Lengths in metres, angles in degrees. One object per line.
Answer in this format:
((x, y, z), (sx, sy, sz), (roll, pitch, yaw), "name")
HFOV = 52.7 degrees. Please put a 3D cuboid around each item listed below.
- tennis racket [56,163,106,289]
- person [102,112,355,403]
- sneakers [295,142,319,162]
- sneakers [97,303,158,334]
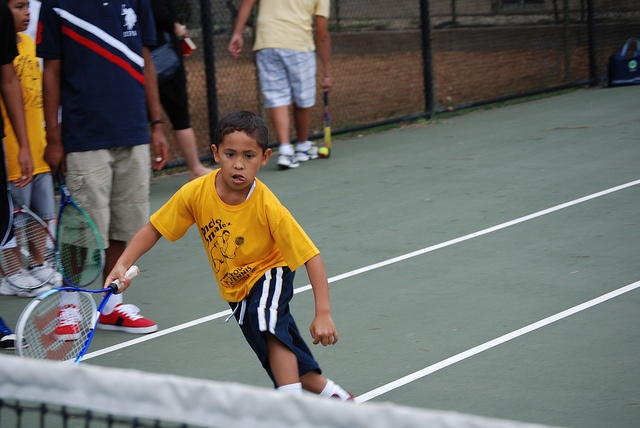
((-1.639, 0.082, 4.352), (0.270, 0.814, 0.066), (-25, -12, 38), "tennis racket")
((-0.404, 0.311, 3.688), (1.114, 1.590, 1.268), (-4, 3, 10), "person")
((-0.123, -0.836, 8.535), (0.153, 0.280, 0.463), (17, 25, 40), "sneakers")
((-1.396, 0.744, 4.656), (0.499, 0.176, 0.168), (1, 1, 18), "sneakers")
